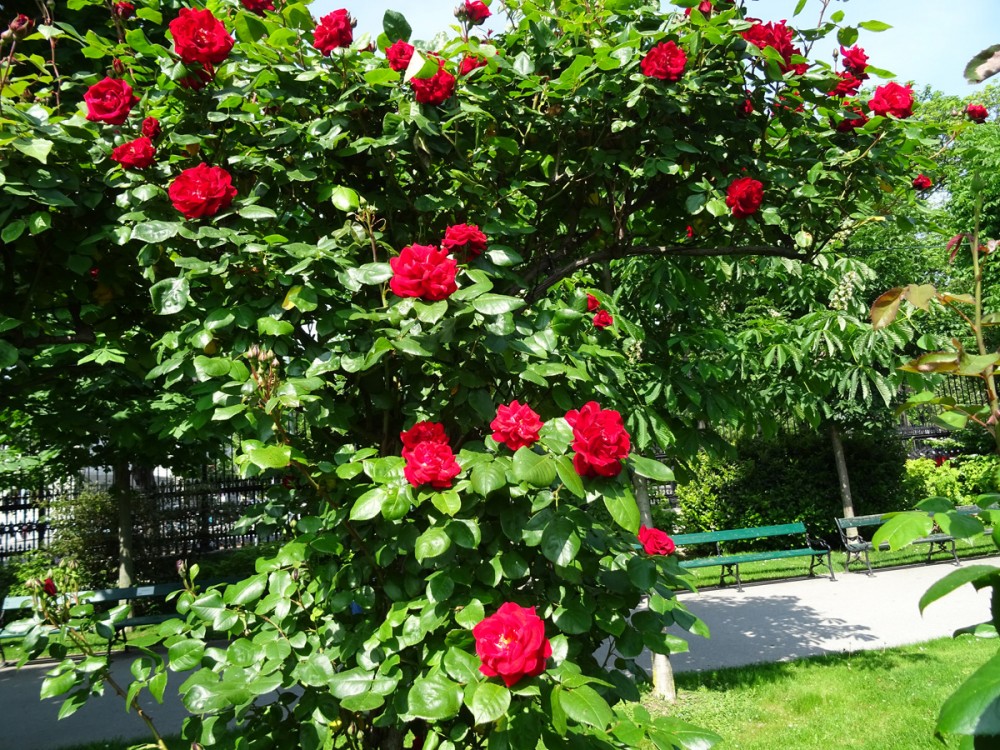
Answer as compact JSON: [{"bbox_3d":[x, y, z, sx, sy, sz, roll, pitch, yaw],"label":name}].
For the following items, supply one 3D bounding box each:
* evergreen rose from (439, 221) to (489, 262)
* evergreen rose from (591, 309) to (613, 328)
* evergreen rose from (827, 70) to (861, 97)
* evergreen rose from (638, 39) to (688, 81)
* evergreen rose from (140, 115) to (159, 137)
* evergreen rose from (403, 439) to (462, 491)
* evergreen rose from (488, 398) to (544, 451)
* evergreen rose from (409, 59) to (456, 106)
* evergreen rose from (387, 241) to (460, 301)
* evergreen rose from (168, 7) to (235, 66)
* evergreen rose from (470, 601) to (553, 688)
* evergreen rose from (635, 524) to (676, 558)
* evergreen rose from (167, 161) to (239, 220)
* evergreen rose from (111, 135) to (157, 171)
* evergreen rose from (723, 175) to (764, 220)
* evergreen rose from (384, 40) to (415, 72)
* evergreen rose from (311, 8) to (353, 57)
[{"bbox_3d":[-0.142,-0.475,2.232,0.145,0.130,0.140,-8,25,-32],"label":"evergreen rose"},{"bbox_3d":[0.453,-0.243,2.703,0.077,0.047,0.080,-12,3,21],"label":"evergreen rose"},{"bbox_3d":[1.524,-1.261,2.739,0.157,0.060,0.146,2,8,4],"label":"evergreen rose"},{"bbox_3d":[0.632,-1.204,2.403,0.162,0.131,0.058,-6,-5,2],"label":"evergreen rose"},{"bbox_3d":[-1.266,-0.893,2.278,0.051,0.083,0.064,-8,-10,11],"label":"evergreen rose"},{"bbox_3d":[-0.201,0.271,1.859,0.158,0.142,0.086,21,-18,0],"label":"evergreen rose"},{"bbox_3d":[0.061,0.151,1.897,0.158,0.148,0.071,-33,-14,-3],"label":"evergreen rose"},{"bbox_3d":[-0.233,-1.025,2.210,0.149,0.141,0.068,-38,13,10],"label":"evergreen rose"},{"bbox_3d":[-0.228,-0.310,1.899,0.206,0.177,0.099,-4,-21,-8],"label":"evergreen rose"},{"bbox_3d":[-1.032,-1.200,2.168,0.194,0.212,0.145,-1,-11,-23],"label":"evergreen rose"},{"bbox_3d":[0.034,0.727,1.674,0.199,0.188,0.094,-21,-30,-2],"label":"evergreen rose"},{"bbox_3d":[0.581,0.620,2.295,0.116,0.111,0.290,-8,-10,11],"label":"evergreen rose"},{"bbox_3d":[-1.025,-0.631,2.145,0.217,0.185,0.092,0,-4,-7],"label":"evergreen rose"},{"bbox_3d":[-1.293,-0.794,2.261,0.133,0.116,0.060,-29,-18,-8],"label":"evergreen rose"},{"bbox_3d":[1.034,-0.743,2.609,0.166,0.154,0.078,-3,13,2],"label":"evergreen rose"},{"bbox_3d":[-0.356,-1.154,2.263,0.130,0.118,0.073,1,-26,-1],"label":"evergreen rose"},{"bbox_3d":[-0.606,-1.256,2.293,0.160,0.195,0.137,-4,-10,-12],"label":"evergreen rose"}]
